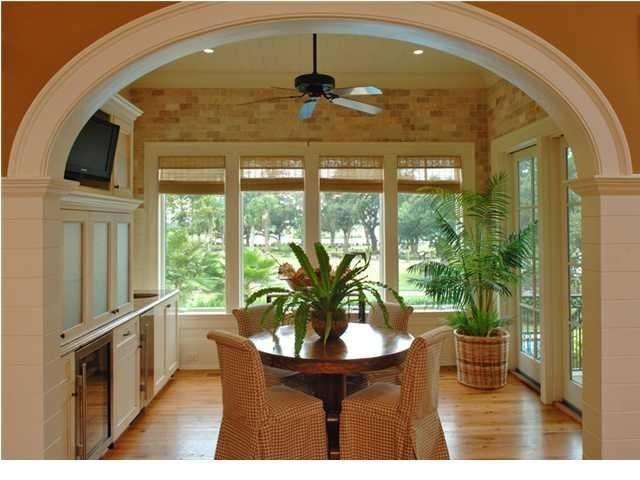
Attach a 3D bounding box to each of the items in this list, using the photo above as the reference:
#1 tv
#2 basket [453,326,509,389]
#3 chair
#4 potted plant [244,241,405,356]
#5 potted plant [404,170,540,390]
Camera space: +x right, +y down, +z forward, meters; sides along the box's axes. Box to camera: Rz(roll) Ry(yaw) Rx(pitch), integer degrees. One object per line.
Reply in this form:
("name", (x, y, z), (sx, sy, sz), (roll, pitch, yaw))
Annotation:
("tv", (-1.677, -0.659, 3.652), (0.091, 0.463, 0.666), (25, 6, 2))
("basket", (1.641, 1.256, 5.262), (0.560, 0.510, 0.579), (0, -5, -7))
("chair", (0.280, 1.081, 3.938), (1.377, 0.750, 1.275), (0, -5, -6))
("potted plant", (-0.152, 0.430, 3.977), (1.045, 0.579, 1.083), (5, -6, -43))
("potted plant", (1.781, 0.433, 5.426), (1.588, 2.352, 1.588), (-9, -12, 34))
